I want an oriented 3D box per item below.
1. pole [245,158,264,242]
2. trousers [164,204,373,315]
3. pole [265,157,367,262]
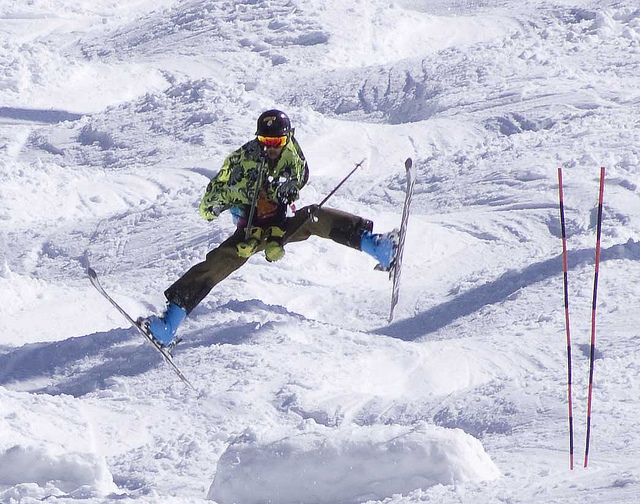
[{"bbox_3d":[-1.201,-0.996,24.473,0.264,1.452,0.242,-8,22,-7],"label":"pole"},{"bbox_3d":[-1.042,0.085,24.767,3.899,1.497,0.648,-12,30,-13],"label":"trousers"},{"bbox_3d":[-0.082,-0.798,28.210,3.666,0.510,0.523,-41,41,2],"label":"pole"}]
